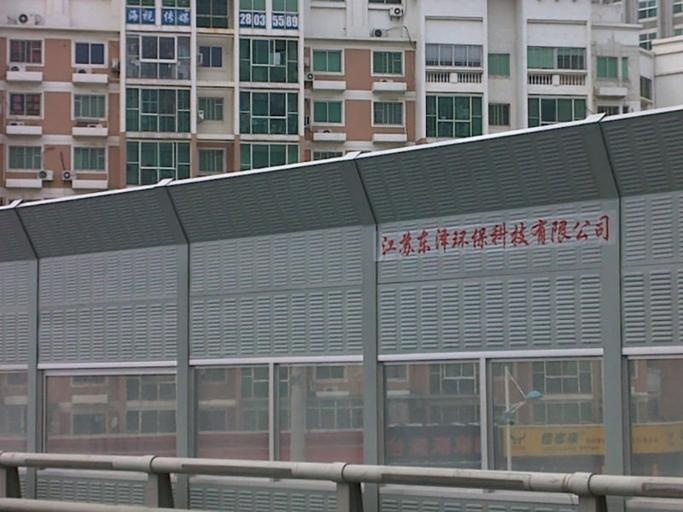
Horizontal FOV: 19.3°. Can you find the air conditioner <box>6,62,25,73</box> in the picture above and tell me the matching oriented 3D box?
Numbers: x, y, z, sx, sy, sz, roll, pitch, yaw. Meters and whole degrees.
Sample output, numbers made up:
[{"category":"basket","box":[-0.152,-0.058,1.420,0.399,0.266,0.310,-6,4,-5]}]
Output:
[{"category":"air conditioner","box":[-14.357,-8.347,88.143,0.498,0.469,0.121,1,-19,-8]}]

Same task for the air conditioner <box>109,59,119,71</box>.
[{"category":"air conditioner","box":[-10.054,-8.514,88.432,0.449,0.812,0.435,0,1,-21]}]

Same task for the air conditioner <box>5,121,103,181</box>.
[{"category":"air conditioner","box":[-12.476,-4.475,87.811,4.218,2.285,0.866,-2,-7,-8]}]
